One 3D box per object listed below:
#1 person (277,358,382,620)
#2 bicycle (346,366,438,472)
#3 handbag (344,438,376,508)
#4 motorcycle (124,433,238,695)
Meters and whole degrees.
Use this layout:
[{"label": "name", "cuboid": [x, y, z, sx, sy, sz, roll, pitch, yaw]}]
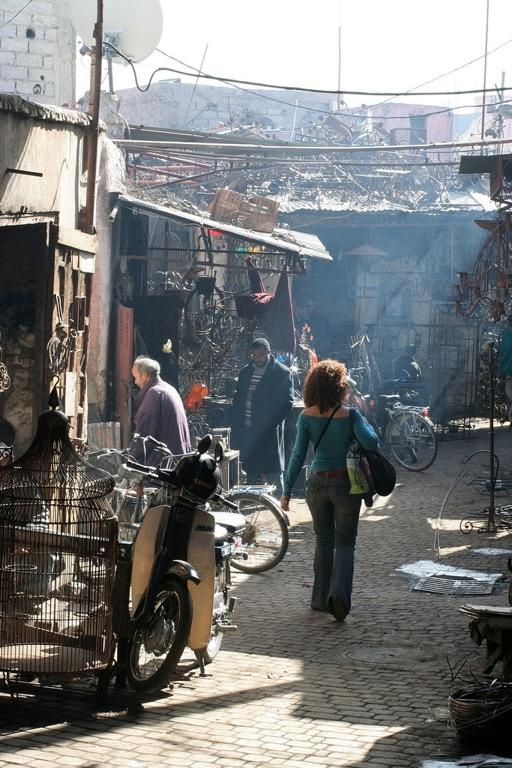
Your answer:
[{"label": "person", "cuboid": [0.498, 0.691, 5.820, 0.404, 1.610, 0.712, 3, -1, -37]}, {"label": "bicycle", "cuboid": [1.997, 0.611, 13.058, 1.037, 1.234, 1.959, -23, 27, -34]}, {"label": "handbag", "cuboid": [0.681, 0.594, 5.609, 0.200, 0.388, 0.186, 2, -1, 13]}, {"label": "motorcycle", "cuboid": [-0.364, 0.876, 4.142, 0.513, 1.196, 1.006, 2, -1, 1]}]
